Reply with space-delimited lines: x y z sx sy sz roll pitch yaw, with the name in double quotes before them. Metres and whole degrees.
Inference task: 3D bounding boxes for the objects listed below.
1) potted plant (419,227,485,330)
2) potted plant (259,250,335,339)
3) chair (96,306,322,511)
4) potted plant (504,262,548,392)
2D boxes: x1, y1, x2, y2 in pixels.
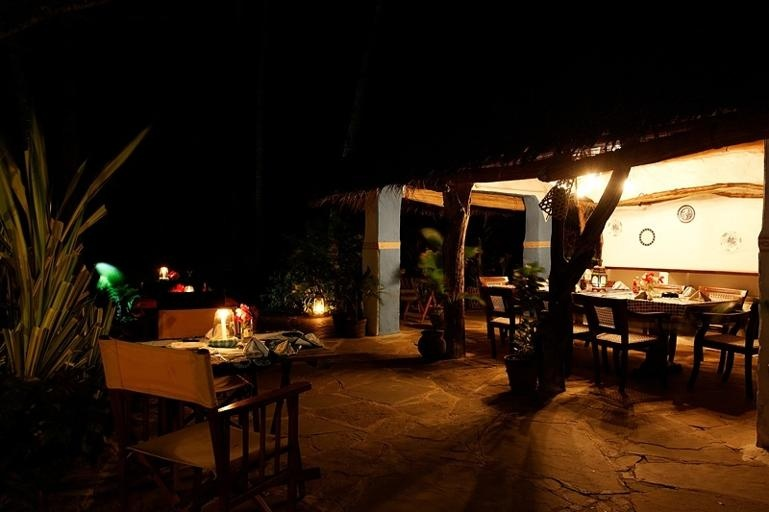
"potted plant" 1.089 0.455 12.261 2.189 2.374 2.358 -2 -2 15
"potted plant" -2.299 1.039 13.165 1.764 1.548 2.261 -1 -19 -4
"chair" -1.677 1.278 5.043 1.651 2.142 1.648 0 3 31
"potted plant" 1.943 0.988 7.338 0.473 1.775 0.603 3 10 15
